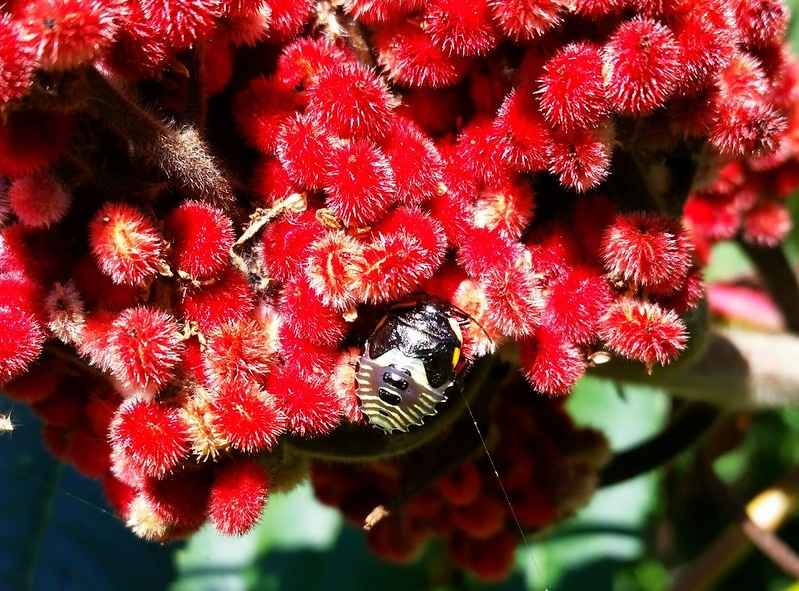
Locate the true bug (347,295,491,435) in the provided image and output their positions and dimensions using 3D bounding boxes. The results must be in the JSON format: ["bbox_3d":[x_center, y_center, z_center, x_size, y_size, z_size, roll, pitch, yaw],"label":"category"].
[{"bbox_3d":[-0.005,0.091,0.950,0.133,0.190,0.056,24,-65,1],"label":"true bug"}]
